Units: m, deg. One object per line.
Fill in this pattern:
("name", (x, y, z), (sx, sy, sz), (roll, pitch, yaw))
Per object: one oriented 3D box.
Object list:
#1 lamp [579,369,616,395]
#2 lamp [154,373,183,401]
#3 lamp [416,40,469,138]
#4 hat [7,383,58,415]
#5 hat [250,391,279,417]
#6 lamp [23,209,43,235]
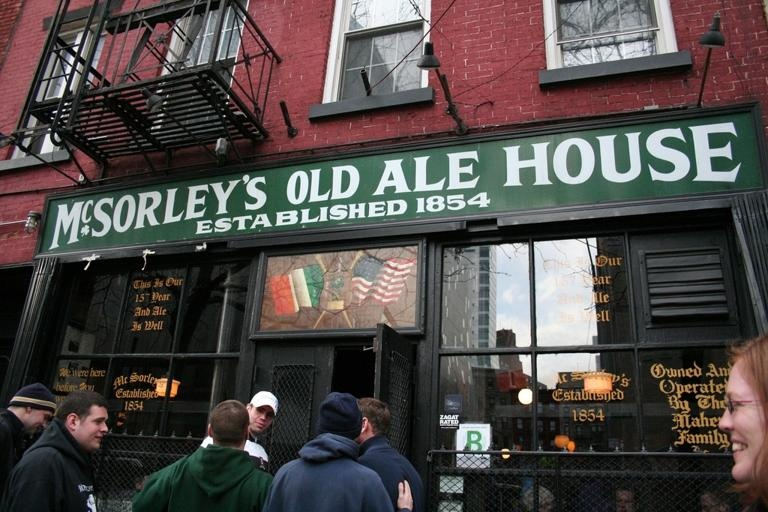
("lamp", (2.371, 1.393, 6.802), (0.268, 0.145, 0.262), (14, -21, -33))
("lamp", (-2.879, 1.754, 8.282), (0.369, 0.241, 0.254), (-1, -29, 3))
("lamp", (0.751, -2.305, 7.847), (0.488, 1.296, 1.113), (-3, -21, 15))
("hat", (-3.492, 1.401, 6.145), (0.408, 0.329, 0.288), (0, -20, -24))
("hat", (-1.324, 1.616, 6.772), (0.279, 0.196, 0.383), (23, -23, -16))
("lamp", (-5.447, -0.545, 9.582), (0.167, 0.386, 0.274), (16, -24, -31))
